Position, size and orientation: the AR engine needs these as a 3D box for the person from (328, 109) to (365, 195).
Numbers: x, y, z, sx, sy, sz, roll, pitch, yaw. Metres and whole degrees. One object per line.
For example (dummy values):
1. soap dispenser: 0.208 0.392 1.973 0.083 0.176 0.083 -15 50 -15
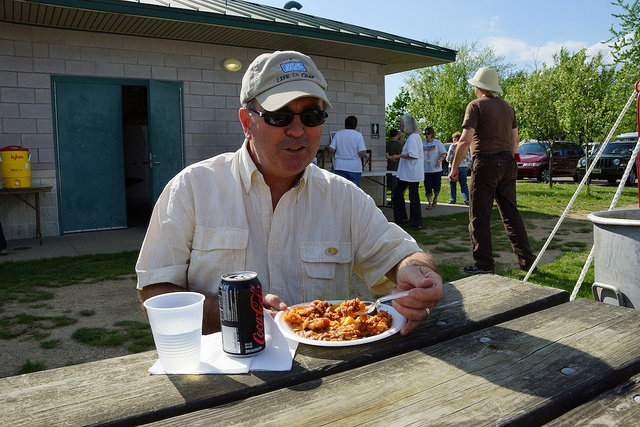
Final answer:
1. person: 0.653 -1.202 9.795 0.726 2.045 0.602 9 29 18

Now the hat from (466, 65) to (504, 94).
1. hat: 2.173 -1.783 5.846 0.475 0.320 0.604 4 18 -14

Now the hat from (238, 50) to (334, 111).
1. hat: -0.201 -0.781 2.633 0.478 0.366 0.677 -9 13 -26

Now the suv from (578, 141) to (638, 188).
1. suv: 12.474 -2.132 19.029 2.122 1.938 2.804 3 11 12

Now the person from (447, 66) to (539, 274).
1. person: 2.251 -0.527 5.780 0.926 2.689 0.587 -3 11 -18

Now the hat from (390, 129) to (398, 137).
1. hat: 1.852 -2.052 11.128 0.158 0.194 0.198 0 -3 7

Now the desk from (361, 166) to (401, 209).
1. desk: 1.447 -0.738 11.395 1.059 1.212 1.844 -3 0 0

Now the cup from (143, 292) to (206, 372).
1. cup: -0.570 0.485 1.995 0.296 0.322 0.293 -2 10 0
